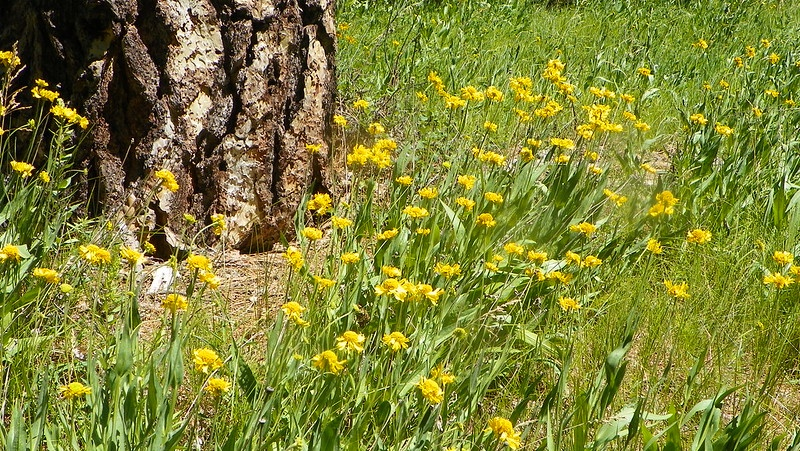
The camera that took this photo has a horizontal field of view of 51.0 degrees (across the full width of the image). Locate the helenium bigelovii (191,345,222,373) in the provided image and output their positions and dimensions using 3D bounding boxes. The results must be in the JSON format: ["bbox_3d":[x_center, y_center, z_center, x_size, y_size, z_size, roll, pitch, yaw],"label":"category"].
[{"bbox_3d":[-0.877,0.650,3.907,0.143,0.072,0.149,11,19,-32],"label":"helenium bigelovii"}]

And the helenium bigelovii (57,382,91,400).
[{"bbox_3d":[-1.504,0.783,3.883,0.101,0.046,0.101,19,13,29],"label":"helenium bigelovii"}]

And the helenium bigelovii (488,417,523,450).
[{"bbox_3d":[0.491,0.993,3.986,0.151,0.094,0.154,36,11,-39],"label":"helenium bigelovii"}]

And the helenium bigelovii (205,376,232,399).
[{"bbox_3d":[-0.848,0.747,3.908,0.103,0.079,0.108,0,18,-8],"label":"helenium bigelovii"}]

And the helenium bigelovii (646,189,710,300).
[{"bbox_3d":[1.658,0.136,5.034,0.314,0.287,0.753,2,58,3],"label":"helenium bigelovii"}]
